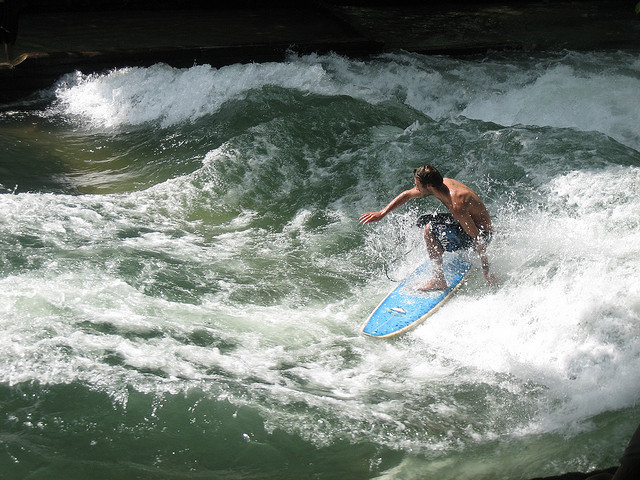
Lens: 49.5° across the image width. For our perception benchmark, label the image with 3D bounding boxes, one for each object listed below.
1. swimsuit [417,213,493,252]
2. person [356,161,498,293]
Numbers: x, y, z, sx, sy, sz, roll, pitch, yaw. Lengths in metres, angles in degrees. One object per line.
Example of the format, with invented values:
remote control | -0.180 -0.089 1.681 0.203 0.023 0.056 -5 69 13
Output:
swimsuit | 1.506 -0.095 7.806 0.667 0.172 0.401 13 49 -7
person | 1.321 -0.214 8.024 1.772 1.288 0.729 13 25 29
